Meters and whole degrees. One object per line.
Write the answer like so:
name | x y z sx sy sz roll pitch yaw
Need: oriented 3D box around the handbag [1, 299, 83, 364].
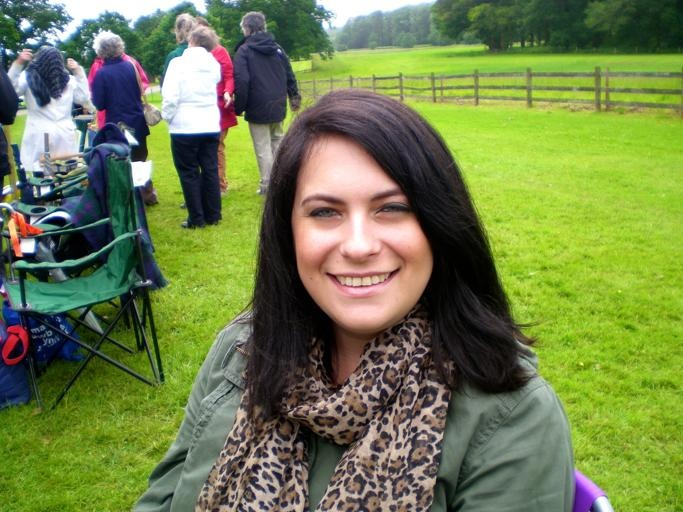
handbag | -2.317 0.587 4.692 0.411 0.629 0.325 1 43 15
